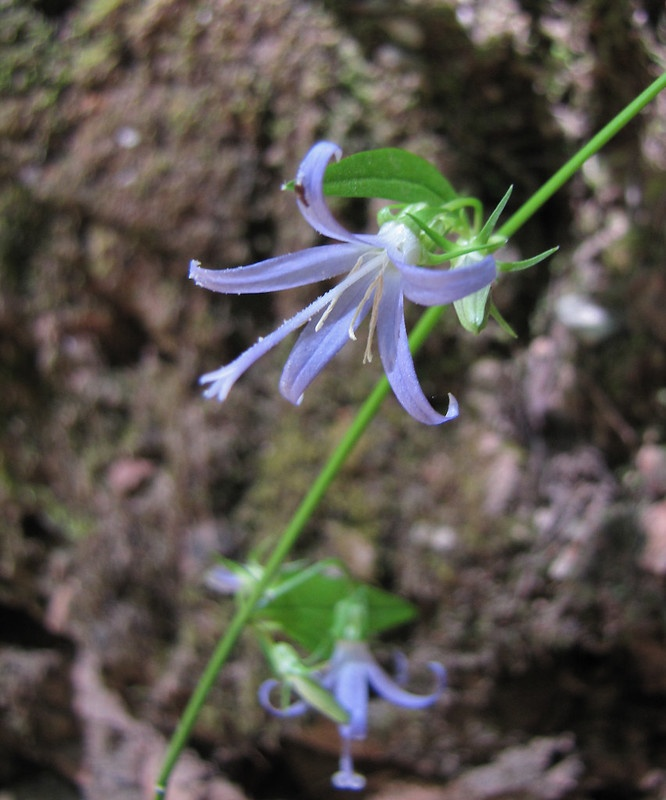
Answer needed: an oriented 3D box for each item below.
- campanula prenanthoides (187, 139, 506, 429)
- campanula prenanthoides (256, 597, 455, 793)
[{"bbox_3d":[0.090,-0.140,1.285,0.439,0.394,0.259,-1,80,31],"label":"campanula prenanthoides"},{"bbox_3d":[0.004,0.382,1.374,0.328,0.277,0.289,1,5,-15],"label":"campanula prenanthoides"}]
